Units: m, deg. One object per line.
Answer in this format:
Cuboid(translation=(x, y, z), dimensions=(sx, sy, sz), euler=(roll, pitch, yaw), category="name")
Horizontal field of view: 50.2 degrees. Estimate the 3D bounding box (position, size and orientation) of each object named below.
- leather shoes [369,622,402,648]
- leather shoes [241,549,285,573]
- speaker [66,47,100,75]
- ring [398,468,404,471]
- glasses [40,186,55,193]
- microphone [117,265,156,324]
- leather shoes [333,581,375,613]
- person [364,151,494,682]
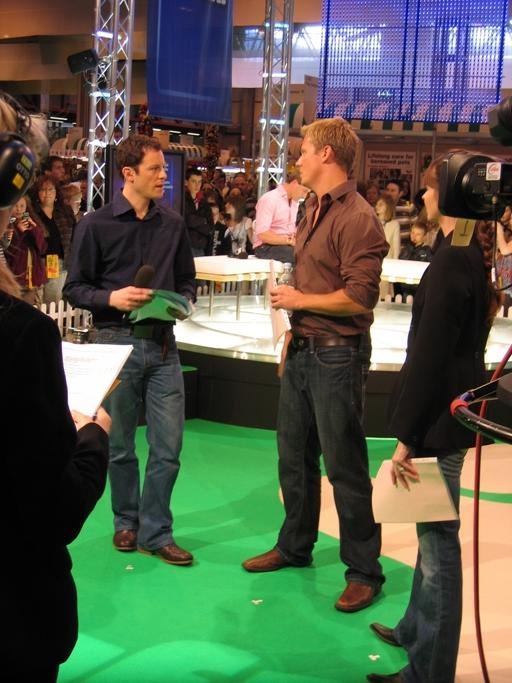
Cuboid(translation=(0.542, 1.175, 2.240), dimensions=(0.050, 0.077, 0.123), euler=(-3, 29, -46), category="leather shoes")
Cuboid(translation=(0.053, 1.123, 2.821), dimensions=(0.265, 0.104, 0.084), euler=(6, 4, -17), category="leather shoes")
Cuboid(translation=(-2.062, -3.335, 6.482), dimensions=(0.357, 0.326, 0.409), euler=(0, 6, -15), category="speaker")
Cuboid(translation=(0.452, 0.394, 1.691), dimensions=(0.010, 0.013, 0.013), euler=(-3, 3, -10), category="ring")
Cuboid(translation=(-2.426, -1.758, 6.292), dimensions=(0.092, 0.043, 0.113), euler=(-1, -6, -5), category="glasses")
Cuboid(translation=(-0.581, -0.224, 2.573), dimensions=(0.094, 0.352, 0.094), euler=(3, 47, -32), category="microphone")
Cuboid(translation=(0.444, 1.144, 2.460), dimensions=(0.080, 0.083, 0.215), euler=(-8, -8, 35), category="leather shoes")
Cuboid(translation=(0.568, 0.323, 1.729), dimensions=(0.331, 1.830, 0.550), euler=(3, 6, 13), category="person")
